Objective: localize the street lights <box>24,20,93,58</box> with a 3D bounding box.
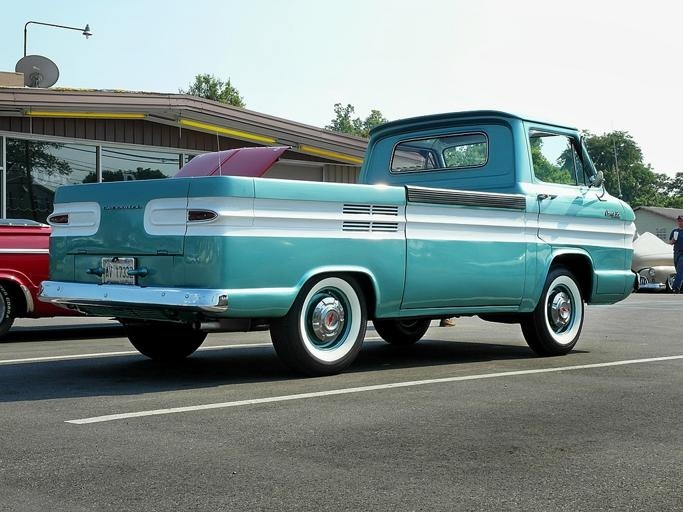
[{"bbox_3d":[-3.563,-2.716,6.244,0.835,0.782,0.200,-8,-34,-19],"label":"street lights"}]
